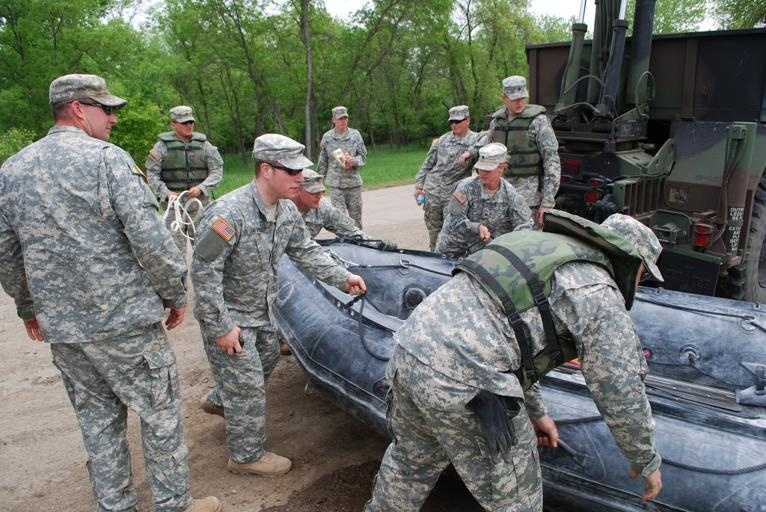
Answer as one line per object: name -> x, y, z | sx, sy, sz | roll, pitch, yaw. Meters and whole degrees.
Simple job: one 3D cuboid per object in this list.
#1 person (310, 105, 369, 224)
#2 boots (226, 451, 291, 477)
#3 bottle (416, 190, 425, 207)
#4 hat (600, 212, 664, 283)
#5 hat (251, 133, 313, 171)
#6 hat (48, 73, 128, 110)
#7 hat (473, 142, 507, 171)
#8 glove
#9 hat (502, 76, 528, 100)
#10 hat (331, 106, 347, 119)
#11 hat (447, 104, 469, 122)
person -> -0.537, -0.930, 7.666 | 0.695, 1.706, 0.693 | -1, 14, 1
boots -> -0.791, 1.337, 4.036 | 0.400, 0.180, 0.155 | -1, 20, -4
bottle -> 0.406, -0.629, 6.754 | 0.108, 0.110, 0.178 | 20, 33, 2
hat -> 1.281, -0.049, 3.090 | 0.366, 0.192, 0.257 | 39, -9, -2
hat -> -0.606, -0.629, 3.759 | 0.402, 0.186, 0.302 | 5, 12, 6
hat -> -1.630, -0.881, 3.433 | 0.331, 0.155, 0.212 | -6, 19, -27
hat -> 0.835, -0.766, 4.846 | 0.230, 0.189, 0.204 | -1, 18, 8
glove -> 0.501, 0.760, 2.803 | 0.250, 0.303, 0.159 | -2, 18, 2
hat -> 1.194, -1.573, 5.732 | 0.191, 0.266, 0.097 | -7, -20, 3
hat -> -0.540, -1.796, 7.760 | 0.180, 0.125, 0.219 | -4, 8, -23
hat -> 0.789, -1.444, 6.400 | 0.200, 0.148, 0.271 | 4, 13, 42
